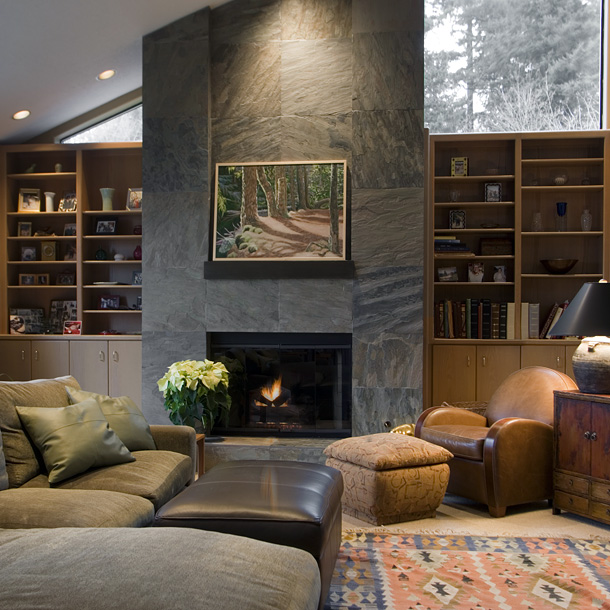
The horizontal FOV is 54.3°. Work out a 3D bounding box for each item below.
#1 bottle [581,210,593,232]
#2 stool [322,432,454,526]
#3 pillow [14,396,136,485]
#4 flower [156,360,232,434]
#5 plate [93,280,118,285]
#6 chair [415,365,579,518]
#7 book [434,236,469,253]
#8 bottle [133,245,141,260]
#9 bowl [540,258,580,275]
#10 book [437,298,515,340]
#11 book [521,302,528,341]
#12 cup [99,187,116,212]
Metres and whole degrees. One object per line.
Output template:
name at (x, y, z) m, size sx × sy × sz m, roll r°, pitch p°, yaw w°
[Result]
bottle at (2.496, -0.755, 5.316) m, size 0.093 × 0.216 × 0.195 m, roll 0°, pitch -1°, yaw 25°
stool at (0.477, 1.027, 3.563) m, size 0.707 × 0.432 × 0.750 m, roll -4°, pitch -7°, yaw 36°
pillow at (-1.082, 0.637, 2.832) m, size 0.277 × 0.326 × 0.469 m, roll 0°, pitch -2°, yaw 34°
flower at (-0.763, 0.611, 4.411) m, size 0.505 × 0.534 × 0.504 m, roll -2°, pitch 0°, yaw -41°
plate at (-1.916, -0.206, 5.725) m, size 0.225 × 0.057 × 0.369 m, roll 1°, pitch -1°, yaw -20°
chair at (1.253, 0.816, 3.880) m, size 0.812 × 0.851 × 0.897 m, roll 1°, pitch -5°, yaw -10°
book at (1.291, -0.533, 5.270) m, size 0.293 × 0.172 × 0.153 m, roll 1°, pitch -1°, yaw 13°
bottle at (-1.600, -0.501, 5.709) m, size 0.122 × 0.159 × 0.126 m, roll 2°, pitch 1°, yaw 0°
bowl at (2.279, -0.342, 5.342) m, size 0.339 × 0.160 × 0.298 m, roll 1°, pitch -1°, yaw 12°
book at (1.462, 0.128, 5.222) m, size 0.665 × 0.335 × 0.160 m, roll 0°, pitch -1°, yaw 21°
book at (1.904, 0.142, 5.177) m, size 0.078 × 0.311 × 0.051 m, roll 1°, pitch -1°, yaw -3°
cup at (-1.924, -1.019, 5.778) m, size 0.140 × 0.299 × 0.399 m, roll 1°, pitch -1°, yaw -20°
